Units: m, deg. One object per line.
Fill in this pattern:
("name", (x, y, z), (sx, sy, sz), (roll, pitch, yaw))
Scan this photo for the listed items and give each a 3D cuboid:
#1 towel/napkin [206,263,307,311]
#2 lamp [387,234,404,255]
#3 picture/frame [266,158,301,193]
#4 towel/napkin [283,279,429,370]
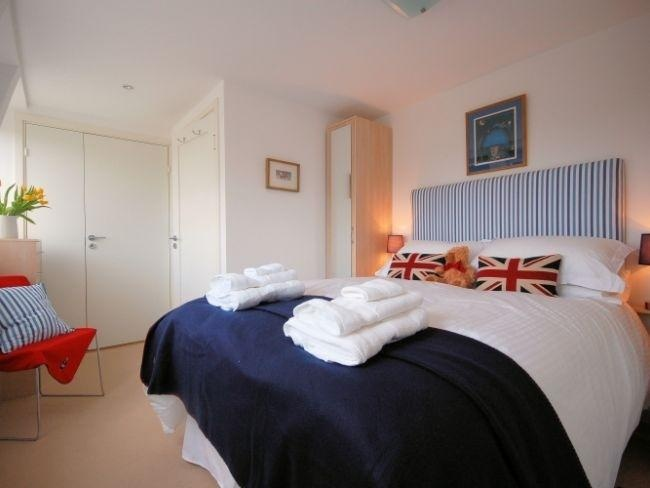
("towel/napkin", (-0.423, 0.275, 2.794), (0.403, 0.162, 0.339), (-2, 0, -44))
("lamp", (0.716, 0.016, 4.590), (0.179, 0.191, 0.176), (-1, 3, -26))
("picture/frame", (-0.439, -0.695, 4.449), (0.362, 0.276, 0.040), (5, -6, -43))
("towel/napkin", (0.214, 0.331, 2.237), (0.408, 0.239, 0.540), (3, 6, 41))
